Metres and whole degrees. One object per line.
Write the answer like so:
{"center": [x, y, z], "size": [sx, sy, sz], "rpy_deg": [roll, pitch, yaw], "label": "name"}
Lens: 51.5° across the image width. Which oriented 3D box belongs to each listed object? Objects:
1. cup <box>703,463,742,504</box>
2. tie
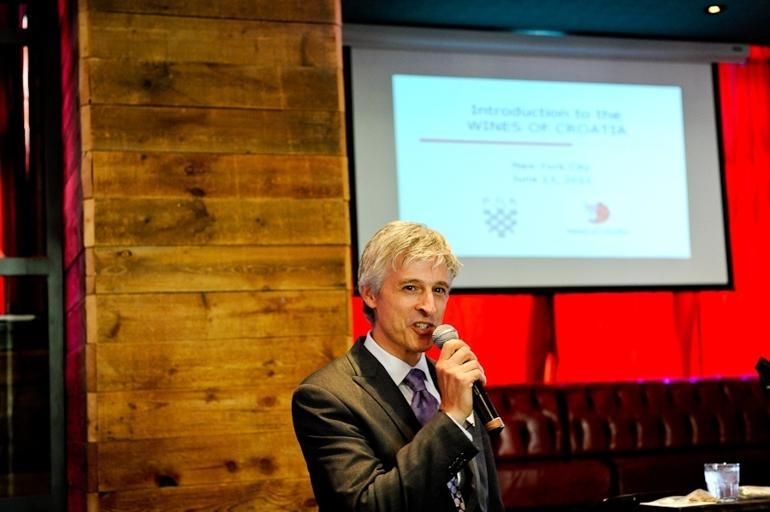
{"center": [1.653, 1.090, 3.894], "size": [0.164, 0.179, 0.166], "rpy_deg": [-2, -3, 0], "label": "cup"}
{"center": [0.185, 0.670, 3.213], "size": [0.151, 0.097, 0.705], "rpy_deg": [-1, 40, -11], "label": "tie"}
